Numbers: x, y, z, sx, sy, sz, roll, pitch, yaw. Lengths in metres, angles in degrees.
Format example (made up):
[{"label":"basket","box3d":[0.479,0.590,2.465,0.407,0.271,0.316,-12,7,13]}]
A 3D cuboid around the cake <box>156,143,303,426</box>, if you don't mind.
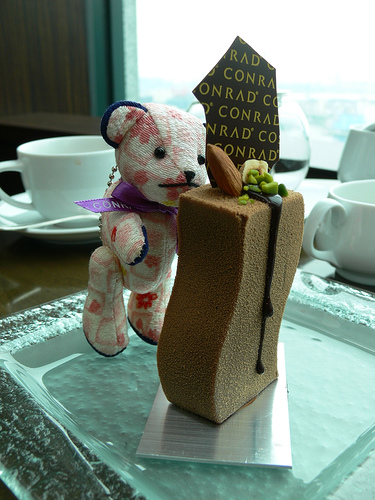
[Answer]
[{"label":"cake","box3d":[0.041,0.030,0.440,0.080,0.246,0.118,24,32,34]}]
